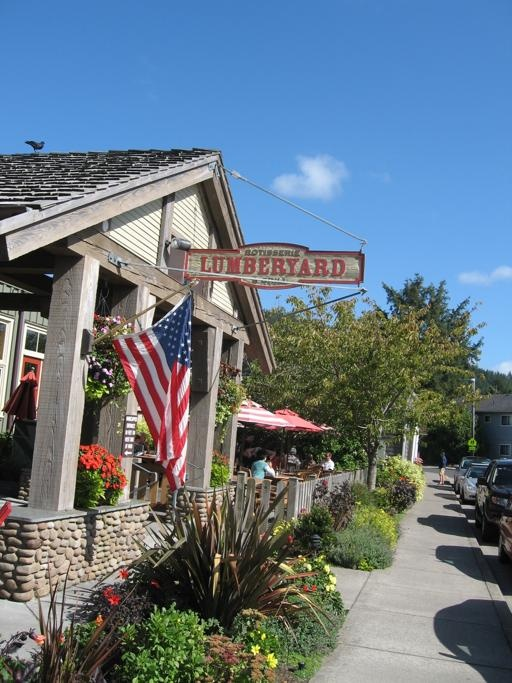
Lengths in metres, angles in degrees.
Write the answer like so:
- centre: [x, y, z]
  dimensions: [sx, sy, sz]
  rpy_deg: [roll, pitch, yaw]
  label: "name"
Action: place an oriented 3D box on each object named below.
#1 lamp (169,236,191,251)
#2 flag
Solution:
- centre: [-1.060, -1.390, 8.272]
  dimensions: [0.334, 0.177, 0.269]
  rpy_deg: [6, -1, 10]
  label: "lamp"
- centre: [-0.994, 0.514, 6.310]
  dimensions: [0.941, 2.009, 0.745]
  rpy_deg: [6, -2, 14]
  label: "flag"
